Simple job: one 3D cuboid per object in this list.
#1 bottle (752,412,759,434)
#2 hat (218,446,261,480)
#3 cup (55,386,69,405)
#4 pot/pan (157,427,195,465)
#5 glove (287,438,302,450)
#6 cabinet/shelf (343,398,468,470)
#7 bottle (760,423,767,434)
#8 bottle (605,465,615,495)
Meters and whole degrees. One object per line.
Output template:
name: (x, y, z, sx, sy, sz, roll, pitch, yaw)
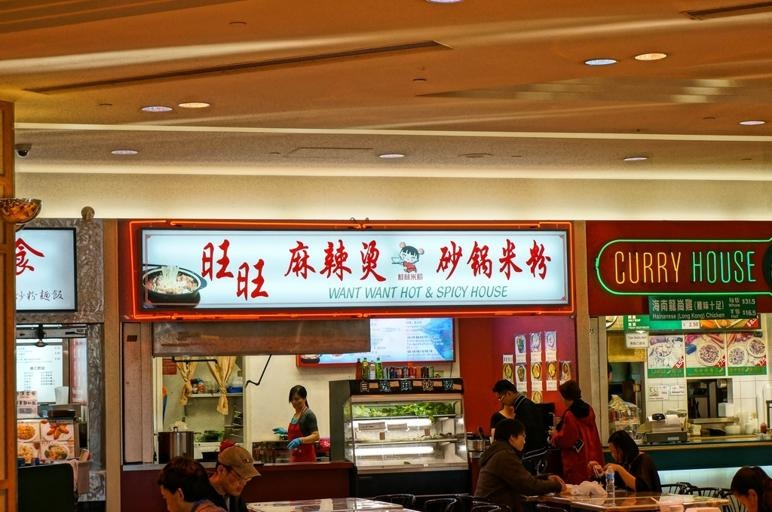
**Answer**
bottle: (5.359, 2.448, 11.910, 0.096, 0.269, 0.260, -9, -9, 27)
hat: (-1.146, 1.639, 6.580, 0.404, 0.159, 0.229, 15, 12, 13)
cup: (-3.812, 1.660, 9.719, 0.152, 0.201, 0.295, -1, -8, -21)
pot/pan: (-2.412, 2.257, 9.614, 0.354, 0.313, 0.290, 1, -18, -17)
glove: (-1.096, 2.345, 10.102, 0.187, 0.072, 0.122, -20, 17, 21)
cabinet/shelf: (0.033, 2.168, 9.832, 1.759, 0.837, 0.900, 9, -22, -40)
bottle: (5.466, 2.519, 11.867, 0.087, 0.130, 0.237, -9, -9, 28)
bottle: (2.304, 2.342, 8.464, 0.091, 0.262, 0.315, -7, -8, 14)
